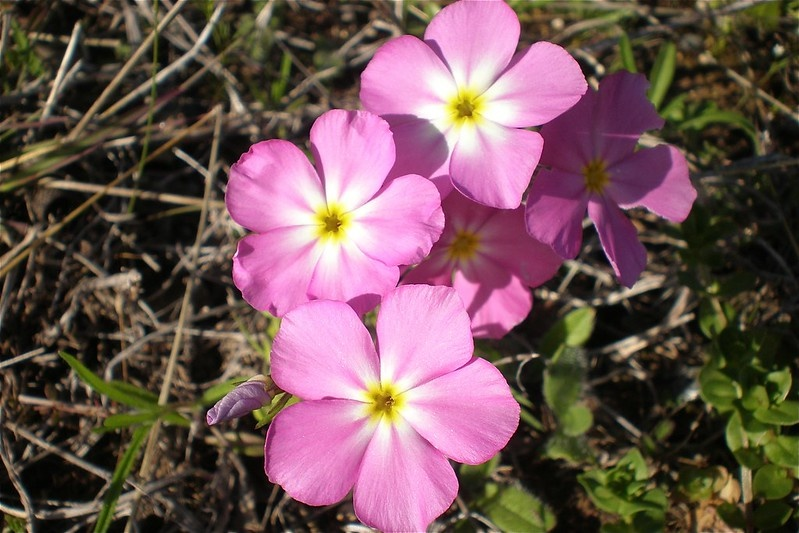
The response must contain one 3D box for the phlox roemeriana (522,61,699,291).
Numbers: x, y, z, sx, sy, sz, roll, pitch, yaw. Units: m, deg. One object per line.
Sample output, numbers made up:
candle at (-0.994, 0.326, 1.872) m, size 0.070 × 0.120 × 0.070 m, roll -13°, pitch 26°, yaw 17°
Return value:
phlox roemeriana at (0.951, -0.457, 3.817) m, size 0.917 × 0.346 × 0.994 m, roll 28°, pitch 93°, yaw -12°
